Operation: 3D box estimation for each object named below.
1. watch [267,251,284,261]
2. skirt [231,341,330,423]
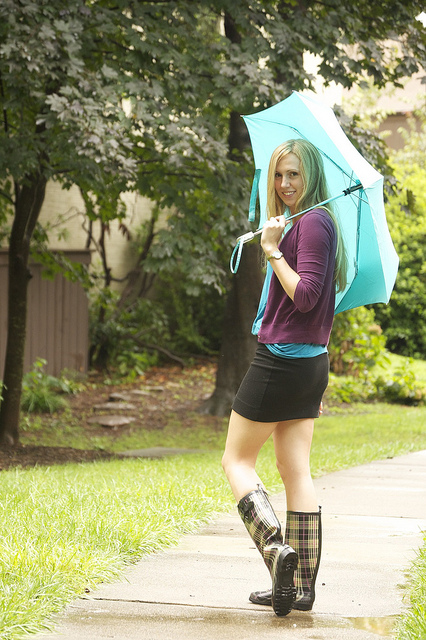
[{"bbox_3d":[0.242,-0.244,3.163,0.047,0.025,0.043,-12,7,-28],"label":"watch"},{"bbox_3d":[0.310,0.227,3.321,0.251,0.360,0.434,17,4,40],"label":"skirt"}]
